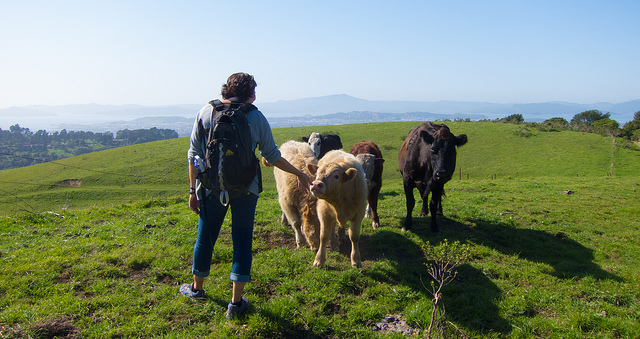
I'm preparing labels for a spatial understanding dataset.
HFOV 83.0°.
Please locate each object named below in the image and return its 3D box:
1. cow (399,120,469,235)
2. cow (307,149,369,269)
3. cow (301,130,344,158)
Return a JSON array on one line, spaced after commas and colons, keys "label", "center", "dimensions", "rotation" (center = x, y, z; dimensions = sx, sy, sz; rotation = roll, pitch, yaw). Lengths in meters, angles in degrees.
[{"label": "cow", "center": [4.961, 0.160, 16.376], "dimensions": [2.597, 4.533, 4.089], "rotation": [3, 12, 15]}, {"label": "cow", "center": [0.689, 1.481, 13.402], "dimensions": [2.014, 3.900, 3.023], "rotation": [1, 11, 7]}, {"label": "cow", "center": [0.126, -1.173, 20.287], "dimensions": [1.578, 1.842, 3.791], "rotation": [0, 7, 16]}]
